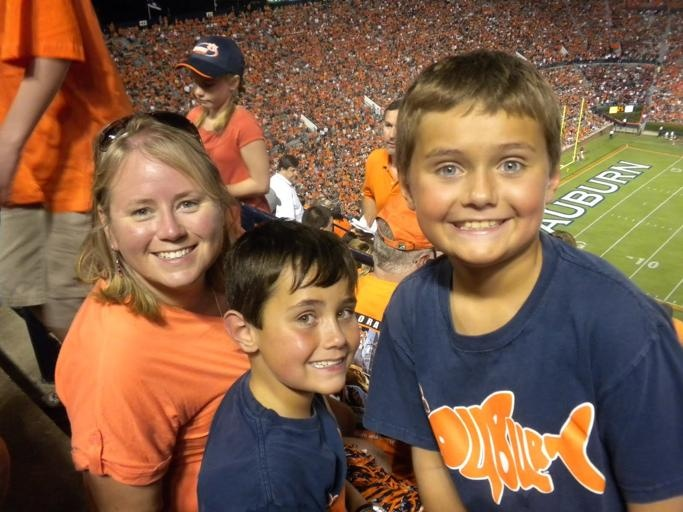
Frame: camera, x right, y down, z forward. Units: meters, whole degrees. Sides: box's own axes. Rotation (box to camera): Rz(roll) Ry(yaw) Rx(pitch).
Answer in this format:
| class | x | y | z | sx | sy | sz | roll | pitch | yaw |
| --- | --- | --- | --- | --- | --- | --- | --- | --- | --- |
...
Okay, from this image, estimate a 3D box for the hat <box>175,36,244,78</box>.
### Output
| class | x | y | z | sx | sy | sz | roll | pitch | yaw |
| --- | --- | --- | --- | --- | --- | --- | --- | --- | --- |
| hat | -0.995 | -1.563 | 4.545 | 0.406 | 0.280 | 0.587 | 16 | 21 | 23 |
